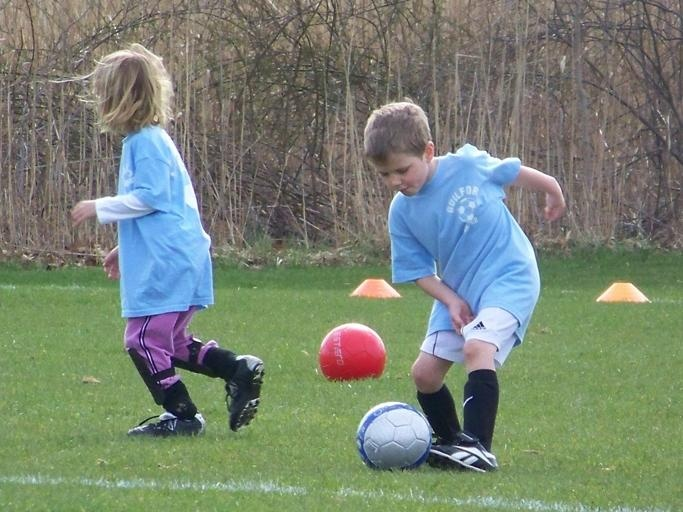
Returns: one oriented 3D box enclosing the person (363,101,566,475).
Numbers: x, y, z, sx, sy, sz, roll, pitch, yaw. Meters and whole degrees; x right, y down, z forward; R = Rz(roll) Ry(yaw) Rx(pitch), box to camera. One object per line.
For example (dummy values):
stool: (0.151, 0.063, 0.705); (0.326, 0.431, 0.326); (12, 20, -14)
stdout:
person: (0.915, 0.214, 11.140); (1.360, 2.821, 0.779); (1, 3, 8)

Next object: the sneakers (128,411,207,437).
sneakers: (-1.394, 1.389, 11.464); (0.463, 0.187, 0.251); (4, -3, 1)

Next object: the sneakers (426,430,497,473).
sneakers: (0.927, 1.505, 10.869); (0.587, 0.295, 0.242); (5, -7, 8)

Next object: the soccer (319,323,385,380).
soccer: (0.099, 0.822, 12.676); (0.460, 0.574, 0.469); (3, 6, 23)

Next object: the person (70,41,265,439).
person: (-1.450, -0.117, 11.521); (1.418, 3.111, 0.537); (0, 3, -6)
